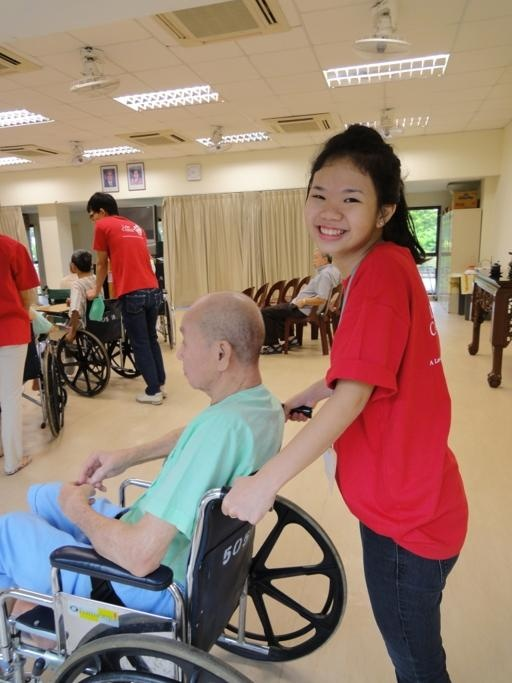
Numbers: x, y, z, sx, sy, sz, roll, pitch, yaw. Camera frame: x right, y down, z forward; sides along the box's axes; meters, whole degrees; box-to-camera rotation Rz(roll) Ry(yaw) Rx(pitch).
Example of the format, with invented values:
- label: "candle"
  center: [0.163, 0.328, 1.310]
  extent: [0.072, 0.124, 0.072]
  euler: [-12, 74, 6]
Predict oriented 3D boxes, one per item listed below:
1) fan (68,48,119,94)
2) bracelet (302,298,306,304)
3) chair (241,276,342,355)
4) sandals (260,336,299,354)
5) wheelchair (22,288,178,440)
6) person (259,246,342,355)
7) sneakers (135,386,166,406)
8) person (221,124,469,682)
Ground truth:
- label: "fan"
  center: [-1.409, -2.351, 4.418]
  extent: [0.357, 0.333, 0.236]
  euler: [-13, 12, -25]
- label: "bracelet"
  center: [0.544, -0.445, 5.709]
  extent: [0.035, 0.060, 0.015]
  euler: [1, -1, 12]
- label: "chair"
  center: [0.511, -0.392, 6.366]
  extent: [1.027, 1.351, 0.824]
  euler: [4, 11, 12]
- label: "sandals"
  center: [0.337, 0.059, 6.205]
  extent: [0.203, 0.161, 0.428]
  euler: [-4, -4, 41]
- label: "wheelchair"
  center: [-1.563, 0.160, 4.050]
  extent: [1.023, 1.232, 0.787]
  euler: [10, 8, 16]
- label: "person"
  center: [0.557, -0.483, 6.463]
  extent: [1.198, 1.531, 0.950]
  euler: [1, 10, 8]
- label: "sneakers"
  center: [-0.882, 0.472, 4.265]
  extent: [0.257, 0.114, 0.105]
  euler: [3, 6, 22]
- label: "person"
  center: [0.156, 0.147, 0.926]
  extent: [0.450, 1.085, 0.344]
  euler: [-3, 9, -7]
